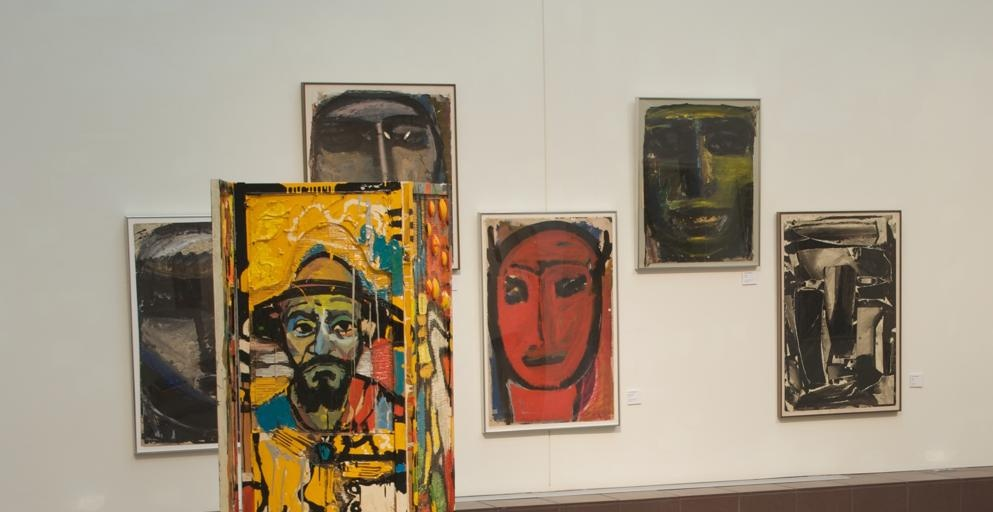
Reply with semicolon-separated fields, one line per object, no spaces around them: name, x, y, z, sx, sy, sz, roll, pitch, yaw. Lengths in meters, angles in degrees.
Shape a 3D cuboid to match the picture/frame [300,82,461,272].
picture/frame;-1.313;-0.859;18.790;2.319;2.365;0.124;-1;4;1
